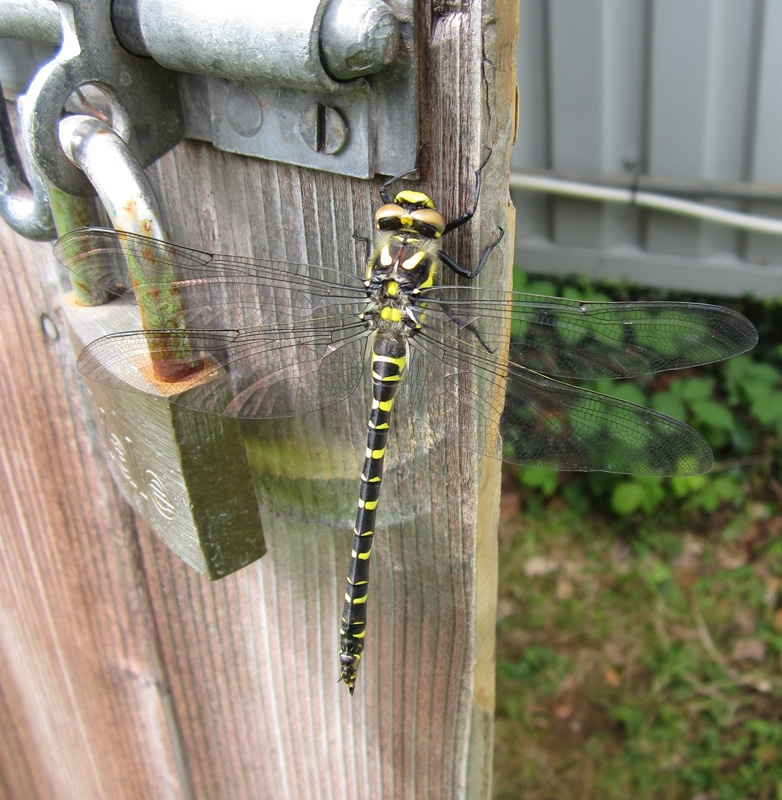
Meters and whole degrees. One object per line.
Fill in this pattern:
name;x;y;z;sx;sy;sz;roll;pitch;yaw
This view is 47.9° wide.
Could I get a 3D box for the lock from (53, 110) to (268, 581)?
lock;-0.224;-0.066;0.887;0.094;0.513;0.259;-23;41;-29
